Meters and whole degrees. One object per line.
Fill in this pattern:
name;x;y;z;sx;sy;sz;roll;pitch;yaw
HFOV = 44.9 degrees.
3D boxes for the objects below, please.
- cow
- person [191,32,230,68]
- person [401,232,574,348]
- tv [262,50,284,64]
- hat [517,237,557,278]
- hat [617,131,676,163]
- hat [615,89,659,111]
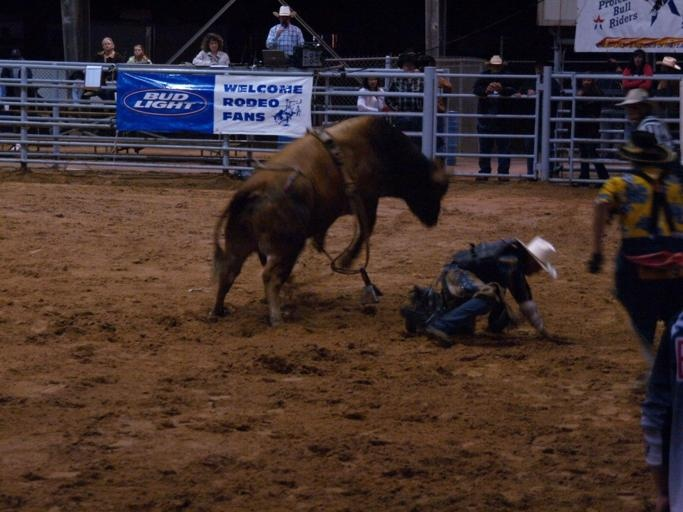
cow;-0.149;-0.355;7.320;2.012;1.769;0.508;-3;10;-30
person;-2.277;-3.603;14.430;0.602;0.687;1.530;0;8;-10
person;1.131;0.249;6.700;1.166;0.619;0.884;-7;15;-14
tv;-1.131;-3.270;13.596;0.382;0.218;0.255;3;18;13
hat;1.556;0.014;6.513;0.253;0.308;0.340;4;9;15
hat;1.991;-0.688;5.420;0.310;0.130;0.205;13;6;7
hat;2.300;-1.221;6.414;0.320;0.133;0.225;1;3;-7
